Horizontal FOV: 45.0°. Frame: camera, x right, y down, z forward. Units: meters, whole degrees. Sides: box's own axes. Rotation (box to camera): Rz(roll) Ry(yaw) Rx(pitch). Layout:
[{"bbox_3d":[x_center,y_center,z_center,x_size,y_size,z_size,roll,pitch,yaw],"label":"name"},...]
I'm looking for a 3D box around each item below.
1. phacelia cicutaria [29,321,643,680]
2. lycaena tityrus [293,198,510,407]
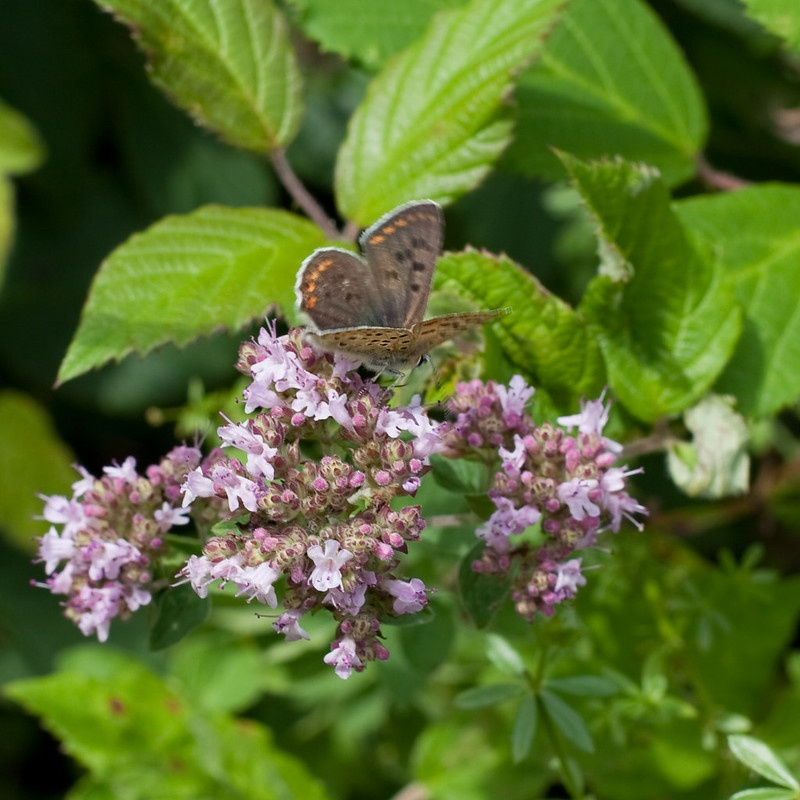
[{"bbox_3d":[-0.181,0.534,2.897,1.023,1.402,1.398,-3,16,-5],"label":"phacelia cicutaria"},{"bbox_3d":[-0.021,-0.293,2.500,0.526,0.545,0.287,5,11,-18],"label":"lycaena tityrus"}]
